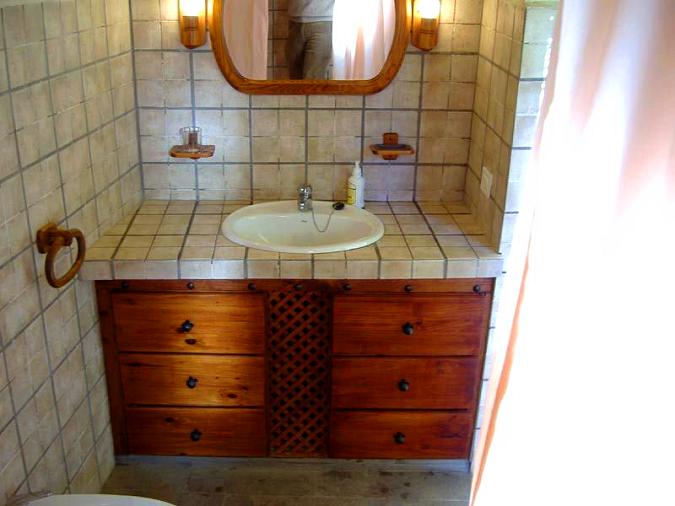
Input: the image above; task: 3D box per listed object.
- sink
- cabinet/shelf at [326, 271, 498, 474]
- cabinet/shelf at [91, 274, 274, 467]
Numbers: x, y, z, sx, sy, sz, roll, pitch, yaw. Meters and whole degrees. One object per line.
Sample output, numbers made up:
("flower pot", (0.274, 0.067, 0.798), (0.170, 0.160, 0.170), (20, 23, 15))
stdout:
("sink", (-0.139, -0.098, 2.496), (0.665, 0.154, 0.497), (5, 17, 10))
("cabinet/shelf", (0.227, 0.516, 2.667), (0.687, 0.715, 0.570), (3, 3, -1))
("cabinet/shelf", (-0.725, 0.570, 2.595), (0.745, 0.722, 0.467), (9, -26, -36))
